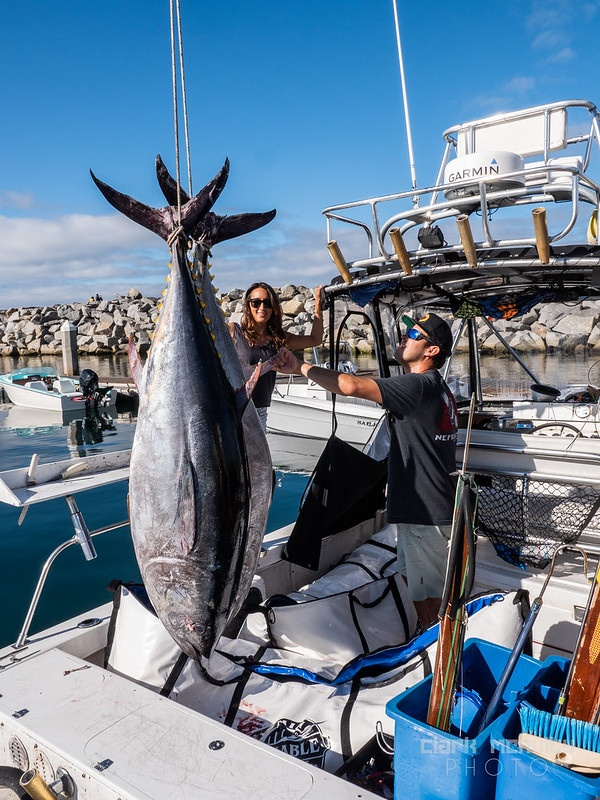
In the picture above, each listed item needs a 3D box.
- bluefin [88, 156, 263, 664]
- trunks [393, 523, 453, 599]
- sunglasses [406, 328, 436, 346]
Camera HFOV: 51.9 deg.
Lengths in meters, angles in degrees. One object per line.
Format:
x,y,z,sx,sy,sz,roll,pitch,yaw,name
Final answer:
-0.337,0.017,1.838,0.448,1.421,0.375,3,0,15,bluefin
0.575,0.701,2.909,0.267,0.393,0.441,-5,12,9,trunks
0.524,-0.287,2.725,0.097,0.026,0.078,17,-4,-10,sunglasses
